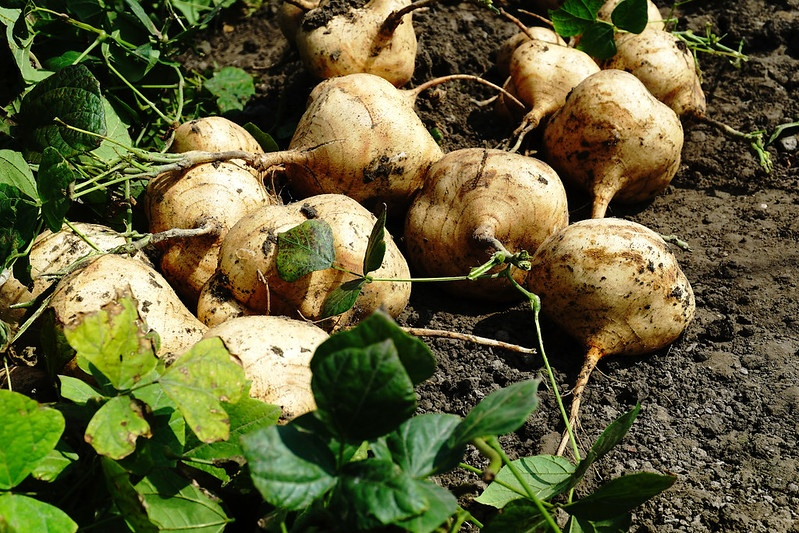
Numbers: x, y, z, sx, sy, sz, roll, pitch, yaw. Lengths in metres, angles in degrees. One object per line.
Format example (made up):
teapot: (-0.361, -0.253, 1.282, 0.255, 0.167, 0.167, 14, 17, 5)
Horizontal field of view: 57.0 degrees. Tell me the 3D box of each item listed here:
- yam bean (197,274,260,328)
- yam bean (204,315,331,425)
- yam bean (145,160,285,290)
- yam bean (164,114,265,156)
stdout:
yam bean: (-0.803, 0.161, 3.292, 0.248, 0.090, 0.250, 22, 46, -25)
yam bean: (-0.545, 0.426, 3.131, 0.480, 0.398, 0.275, 17, 52, 5)
yam bean: (-0.867, -0.202, 3.610, 0.527, 0.348, 0.594, -45, 70, 3)
yam bean: (-0.899, -0.632, 3.622, 0.318, 0.197, 0.242, 23, 5, -35)
